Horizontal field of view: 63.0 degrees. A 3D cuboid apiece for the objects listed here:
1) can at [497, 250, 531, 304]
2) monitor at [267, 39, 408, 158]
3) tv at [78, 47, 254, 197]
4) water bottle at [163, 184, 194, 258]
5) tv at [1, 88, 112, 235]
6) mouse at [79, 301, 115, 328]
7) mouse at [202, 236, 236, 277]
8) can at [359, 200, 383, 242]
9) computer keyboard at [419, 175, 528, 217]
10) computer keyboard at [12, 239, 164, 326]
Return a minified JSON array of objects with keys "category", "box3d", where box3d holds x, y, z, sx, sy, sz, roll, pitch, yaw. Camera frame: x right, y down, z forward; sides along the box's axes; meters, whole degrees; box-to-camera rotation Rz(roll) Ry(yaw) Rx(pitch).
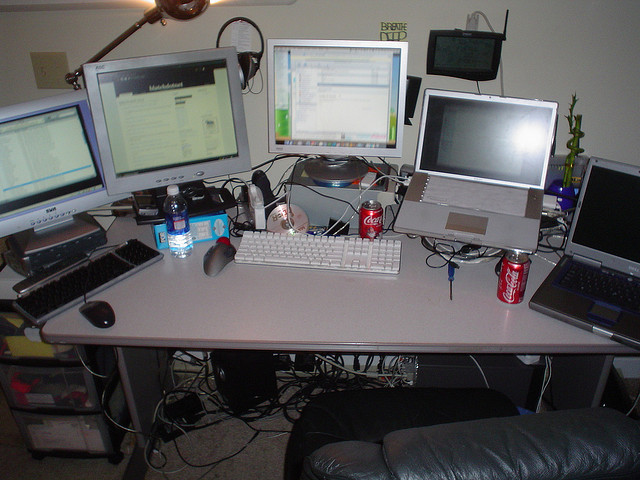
[{"category":"can","box3d":[0.661,0.128,1.817,0.120,0.168,0.122,-4,30,3]},{"category":"monitor","box3d":[0.062,-0.553,2.057,0.541,0.431,0.054,2,24,3]},{"category":"tv","box3d":[-0.598,-0.443,1.988,0.513,0.434,0.219,-13,43,-12]},{"category":"water bottle","box3d":[-0.553,-0.066,2.018,0.095,0.298,0.098,0,29,0]},{"category":"tv","box3d":[-0.966,-0.282,1.902,0.420,0.435,0.041,-24,24,-25]},{"category":"mouse","box3d":[-0.751,0.245,1.755,0.149,0.047,0.078,22,32,36]},{"category":"mouse","box3d":[-0.384,0.044,1.976,0.120,0.064,0.196,5,30,8]},{"category":"can","box3d":[0.204,-0.078,2.079,0.106,0.156,0.105,-2,36,1]},{"category":"computer keyboard","box3d":[0.592,-0.170,2.003,0.348,0.021,0.147,16,61,17]},{"category":"computer keyboard","box3d":[-0.829,0.143,1.886,0.160,0.132,0.507,23,33,39]}]
